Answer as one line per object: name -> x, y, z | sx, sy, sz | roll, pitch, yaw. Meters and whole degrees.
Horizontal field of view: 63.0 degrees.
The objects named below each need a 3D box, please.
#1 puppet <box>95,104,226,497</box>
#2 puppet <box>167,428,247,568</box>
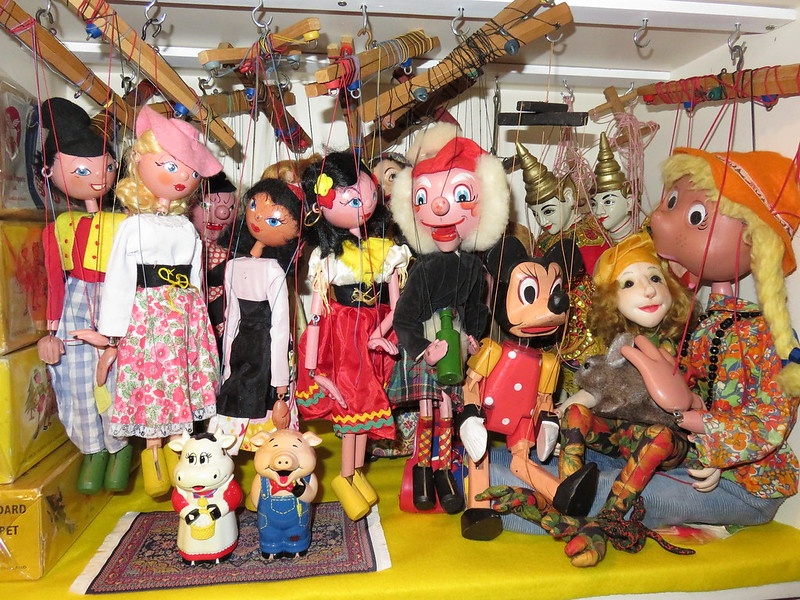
puppet -> -1.086, -0.123, 2.956 | 0.526, 1.770, 0.226 | -1, 0, -26
puppet -> -0.837, 0.841, 2.802 | 0.287, 0.569, 0.209 | -1, 0, -21
